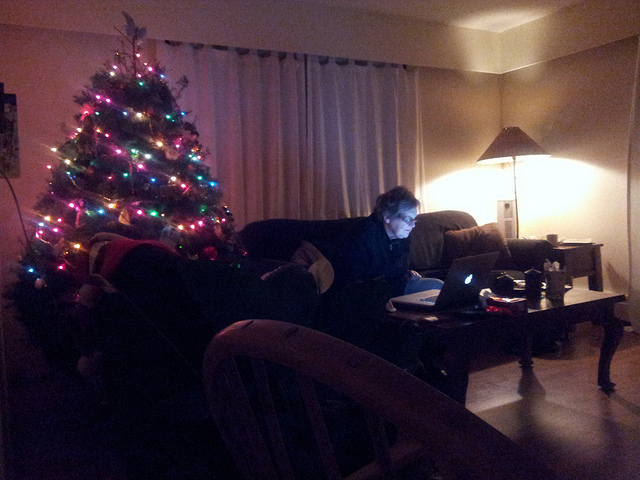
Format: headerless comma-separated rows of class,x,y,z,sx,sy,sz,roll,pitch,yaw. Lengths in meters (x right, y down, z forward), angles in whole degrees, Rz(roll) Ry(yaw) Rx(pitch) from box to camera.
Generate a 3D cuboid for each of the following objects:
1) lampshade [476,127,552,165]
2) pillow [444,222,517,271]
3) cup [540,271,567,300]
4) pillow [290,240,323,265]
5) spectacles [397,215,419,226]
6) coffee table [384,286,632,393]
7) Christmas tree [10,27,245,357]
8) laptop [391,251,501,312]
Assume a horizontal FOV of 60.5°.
lampshade,1.766,-0.866,5.071,0.585,0.337,0.539,2,13,7
pillow,1.361,0.052,4.635,0.627,0.345,0.375,7,15,28
cup,1.416,0.276,3.393,0.182,0.187,0.159,2,0,12
pillow,-0.078,0.080,3.242,0.168,0.062,0.397,1,13,3
spectacles,0.585,-0.131,3.676,0.089,0.027,0.088,21,22,37
coffee table,1.064,0.560,3.077,0.749,0.336,0.429,-3,4,-32
Christmas tree,-1.381,-0.202,4.100,1.500,1.983,1.485,1,1,-2
laptop,0.718,0.230,3.089,0.420,0.265,0.405,-5,5,-38
